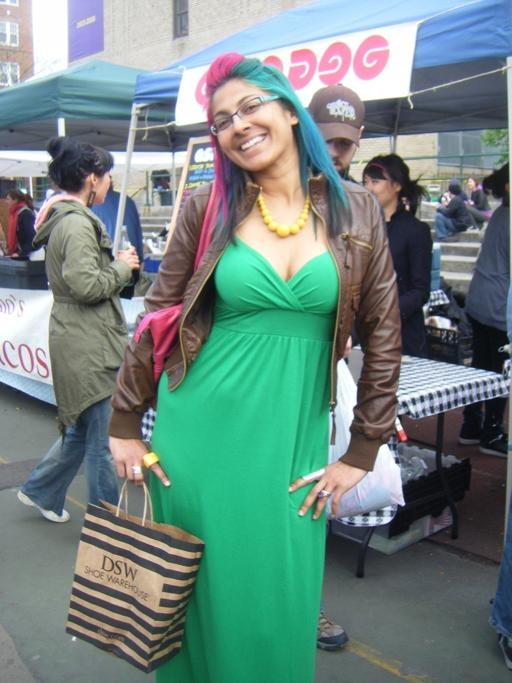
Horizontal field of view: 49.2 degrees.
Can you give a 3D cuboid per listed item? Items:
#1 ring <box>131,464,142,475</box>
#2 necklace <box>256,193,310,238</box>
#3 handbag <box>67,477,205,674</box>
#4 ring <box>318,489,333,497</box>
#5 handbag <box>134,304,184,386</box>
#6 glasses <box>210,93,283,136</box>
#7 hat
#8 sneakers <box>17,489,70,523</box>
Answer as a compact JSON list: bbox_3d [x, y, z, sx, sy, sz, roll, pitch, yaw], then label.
[{"bbox_3d":[-0.289,0.306,1.341,0.021,0.020,0.019,2,-1,0],"label":"ring"},{"bbox_3d":[0.062,-0.277,1.212,0.078,0.113,0.024,3,-28,10],"label":"necklace"},{"bbox_3d":[-0.289,0.516,1.290,0.319,0.398,0.144,9,6,34],"label":"handbag"},{"bbox_3d":[0.145,0.320,1.188,0.022,0.012,0.016,9,-6,-33],"label":"ring"},{"bbox_3d":[-0.231,0.006,1.335,0.141,0.167,0.072,22,33,0],"label":"handbag"},{"bbox_3d":[-0.028,-0.497,1.177,0.091,0.027,0.089,-43,19,-30],"label":"glasses"},{"bbox_3d":[0.403,-1.131,2.757,0.261,0.213,0.406,6,35,-9],"label":"hat"},{"bbox_3d":[-1.316,1.009,3.433,0.326,0.139,0.120,19,35,25],"label":"sneakers"}]
